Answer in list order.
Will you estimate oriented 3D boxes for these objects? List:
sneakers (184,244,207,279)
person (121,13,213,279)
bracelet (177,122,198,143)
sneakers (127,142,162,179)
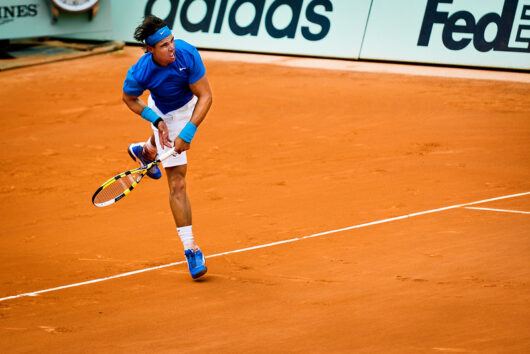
[{"bbox_3d":[-0.763,0.943,6.409,0.161,0.396,0.194,-28,-24,12],"label":"sneakers"},{"bbox_3d":[-1.096,-0.379,6.630,0.782,2.846,1.636,-13,21,-37],"label":"person"},{"bbox_3d":[-0.857,-0.491,6.366,0.164,0.221,0.171,8,18,26],"label":"bracelet"},{"bbox_3d":[-1.501,-0.207,7.252,0.263,0.515,0.177,-32,12,27],"label":"sneakers"}]
